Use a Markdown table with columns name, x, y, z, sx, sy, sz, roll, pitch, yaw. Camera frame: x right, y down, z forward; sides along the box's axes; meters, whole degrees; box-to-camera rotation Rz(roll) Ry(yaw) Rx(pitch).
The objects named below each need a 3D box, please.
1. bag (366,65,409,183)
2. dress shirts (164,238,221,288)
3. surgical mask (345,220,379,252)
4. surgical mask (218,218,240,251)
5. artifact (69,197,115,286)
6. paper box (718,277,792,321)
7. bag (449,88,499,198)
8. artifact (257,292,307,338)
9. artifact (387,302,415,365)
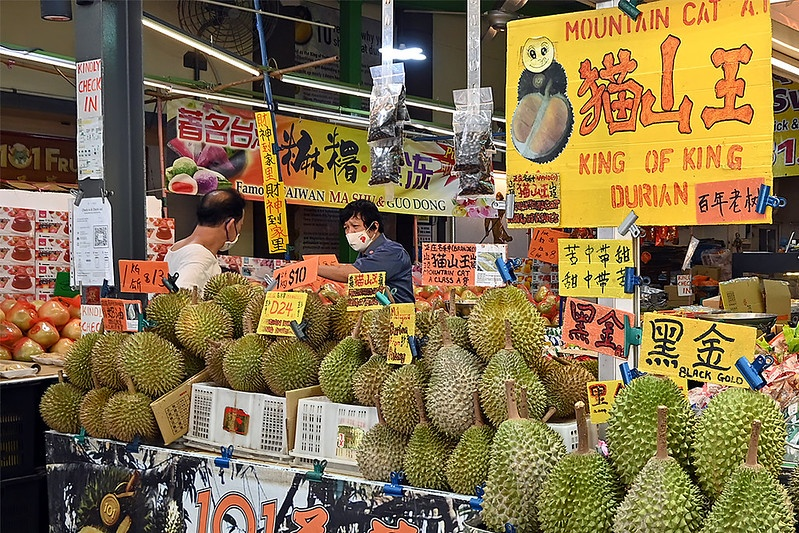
| name | x | y | z | sx | sy | sz | roll | pitch | yaw |
| --- | --- | --- | --- | --- | --- | --- | --- | --- | --- |
| bag | -0.054 | -0.706 | 3.391 | 0.186 | 0.480 | 0.375 | 2 | 1 | -4 |
| dress shirts | -1.195 | -0.005 | 3.968 | 0.240 | 0.182 | 0.417 | 0 | 5 | -13 |
| surgical mask | -0.210 | -0.185 | 4.414 | 0.161 | 0.126 | 0.205 | -12 | 30 | 40 |
| surgical mask | -1.033 | -0.187 | 4.263 | 0.154 | 0.202 | 0.116 | 9 | -2 | 34 |
| artifact | -1.770 | -0.138 | 3.986 | 0.365 | 0.512 | 0.090 | 2 | 1 | 36 |
| paper box | 3.049 | 0.270 | 5.878 | 0.514 | 0.371 | 0.387 | 5 | -11 | 10 |
| bag | 0.351 | -0.604 | 3.256 | 0.195 | 0.447 | 0.286 | 2 | 1 | 7 |
| artifact | -0.535 | 0.213 | 3.135 | 0.207 | 0.211 | 0.058 | -2 | -18 | 32 |
| artifact | 0.006 | 0.275 | 2.738 | 0.105 | 0.196 | 0.078 | 2 | 1 | 4 |
